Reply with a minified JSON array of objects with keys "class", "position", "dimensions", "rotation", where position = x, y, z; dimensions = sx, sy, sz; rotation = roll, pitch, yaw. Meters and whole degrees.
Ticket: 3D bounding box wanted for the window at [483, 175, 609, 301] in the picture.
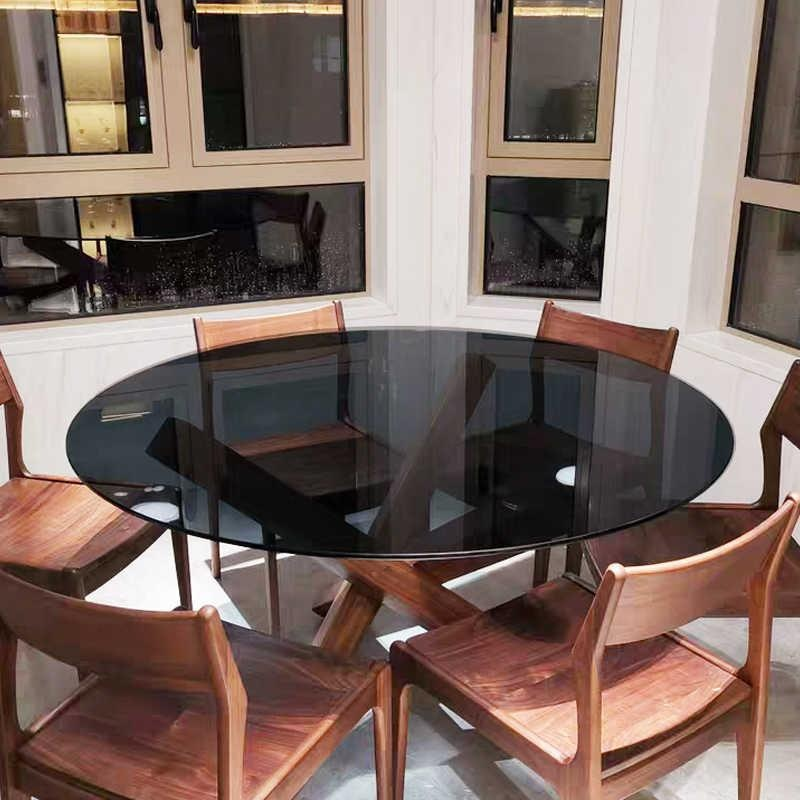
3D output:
[{"class":"window","position":[0.614,-0.673,3.097],"dimensions":[0.534,0.527,0.022],"rotation":[10,26,21]}]
